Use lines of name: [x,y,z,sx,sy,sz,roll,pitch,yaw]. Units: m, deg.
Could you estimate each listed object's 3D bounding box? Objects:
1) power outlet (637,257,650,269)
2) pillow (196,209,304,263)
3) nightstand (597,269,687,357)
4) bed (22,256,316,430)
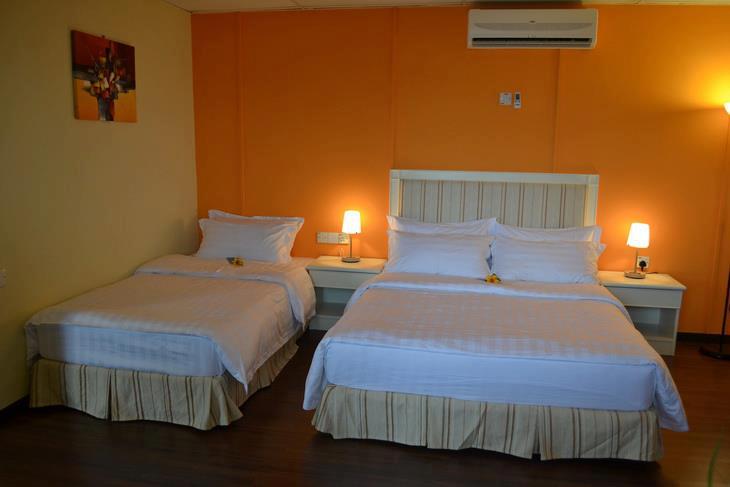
power outlet: [2.964,0.205,5.737,0.134,0.129,0.031,-4,2,-15]
pillow: [-1.327,-0.079,6.106,1.143,0.477,0.545,3,10,6]
nightstand: [2.805,0.552,5.861,1.056,1.002,0.843,2,10,19]
bed: [-1.727,0.841,5.122,2.067,1.044,1.679,4,10,9]
